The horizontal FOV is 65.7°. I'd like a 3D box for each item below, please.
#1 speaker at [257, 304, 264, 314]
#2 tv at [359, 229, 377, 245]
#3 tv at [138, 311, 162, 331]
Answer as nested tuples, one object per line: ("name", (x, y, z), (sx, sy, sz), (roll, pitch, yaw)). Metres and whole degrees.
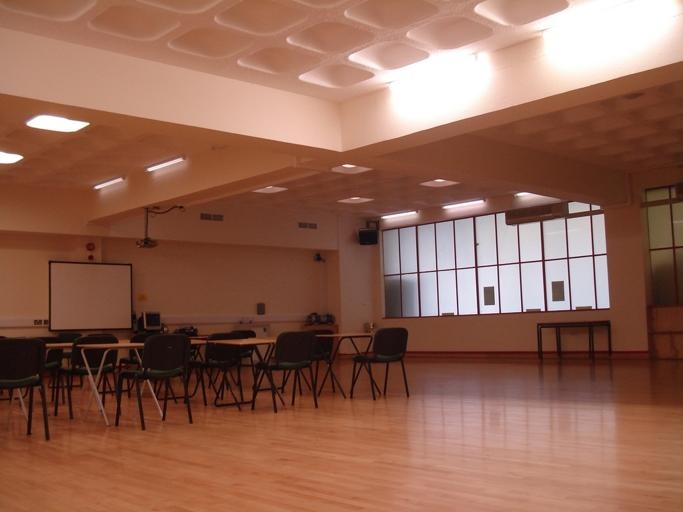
("speaker", (-2.184, 1.405, 14.256), (0.253, 0.309, 0.175), (3, -9, -21))
("tv", (0.776, -0.584, 15.488), (0.602, 0.442, 0.289), (-5, -4, 12))
("tv", (-4.339, 1.475, 12.048), (0.455, 0.433, 0.345), (-2, -4, -25))
